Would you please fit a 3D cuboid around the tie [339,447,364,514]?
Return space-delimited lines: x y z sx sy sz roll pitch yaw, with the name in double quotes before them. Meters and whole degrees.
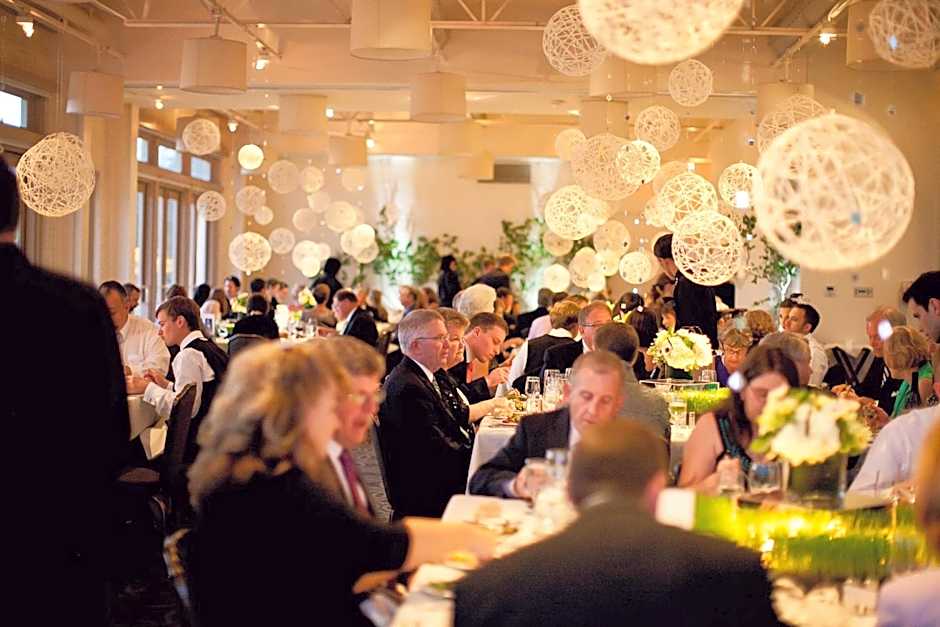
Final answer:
"tie" -0.400 0.586 2.737 0.058 0.182 0.183 -9 28 7

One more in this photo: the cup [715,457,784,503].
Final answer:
"cup" 1.026 0.620 2.859 0.205 0.196 0.195 1 -8 0

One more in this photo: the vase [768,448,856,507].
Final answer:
"vase" 1.264 0.603 2.876 0.195 0.208 0.192 2 -8 -9

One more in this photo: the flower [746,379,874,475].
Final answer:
"flower" 1.189 0.406 2.784 0.344 0.241 0.340 -1 -7 2

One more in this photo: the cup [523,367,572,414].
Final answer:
"cup" 0.498 0.513 5.142 0.297 0.294 0.295 1 -8 0

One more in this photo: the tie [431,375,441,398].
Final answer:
"tie" -0.207 0.447 4.830 0.034 0.095 0.085 -19 -17 16

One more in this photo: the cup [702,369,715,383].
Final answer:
"cup" 1.709 0.451 5.593 0.096 0.091 0.096 0 -3 0
